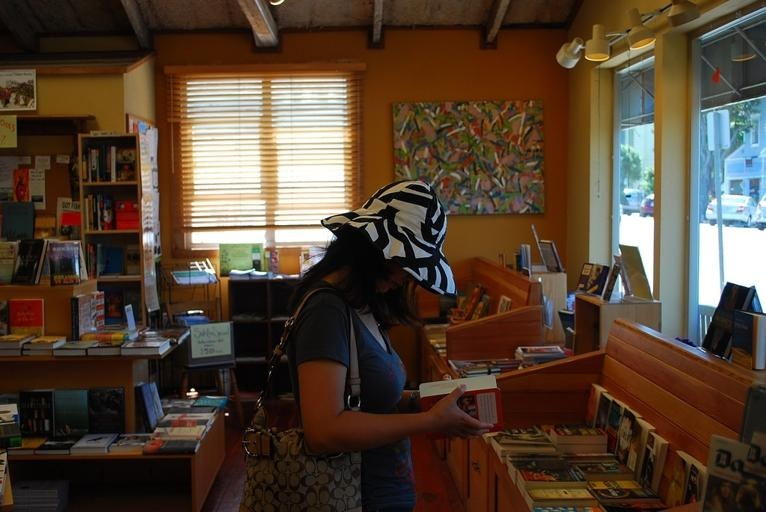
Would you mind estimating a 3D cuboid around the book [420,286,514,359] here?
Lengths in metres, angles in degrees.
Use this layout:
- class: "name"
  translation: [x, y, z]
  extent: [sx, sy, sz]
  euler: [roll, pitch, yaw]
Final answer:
- class: "book"
  translation: [0.770, 0.750, 5.819]
  extent: [0.861, 0.563, 0.479]
  euler: [-1, 7, 1]

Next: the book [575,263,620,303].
- class: "book"
  translation: [1.652, 0.209, 4.730]
  extent: [0.049, 0.227, 0.349]
  euler: [19, 0, -12]

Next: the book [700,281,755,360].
- class: "book"
  translation: [1.884, 0.353, 3.388]
  extent: [0.085, 0.369, 0.359]
  euler: [10, 12, 4]
